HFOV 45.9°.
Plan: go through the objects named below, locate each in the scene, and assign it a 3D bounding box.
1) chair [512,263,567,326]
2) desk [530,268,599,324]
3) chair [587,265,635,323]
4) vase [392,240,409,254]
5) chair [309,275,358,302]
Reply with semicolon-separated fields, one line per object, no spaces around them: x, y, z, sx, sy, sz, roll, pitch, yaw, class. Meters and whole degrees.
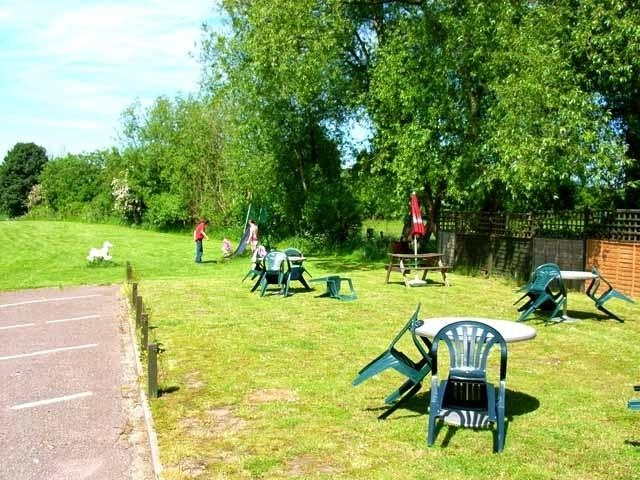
5.659;1.326;19.481;0.898;1.438;0.833;6;1;-15;chair
6.455;1.347;20.406;1.356;1.431;3.395;3;2;20;desk
8.137;1.536;21.163;0.940;0.781;0.592;27;30;4;chair
2.940;0.221;27.754;0.591;0.578;0.492;-14;-17;42;vase
0.506;1.468;22.552;0.722;0.563;1.002;-1;1;-35;chair
